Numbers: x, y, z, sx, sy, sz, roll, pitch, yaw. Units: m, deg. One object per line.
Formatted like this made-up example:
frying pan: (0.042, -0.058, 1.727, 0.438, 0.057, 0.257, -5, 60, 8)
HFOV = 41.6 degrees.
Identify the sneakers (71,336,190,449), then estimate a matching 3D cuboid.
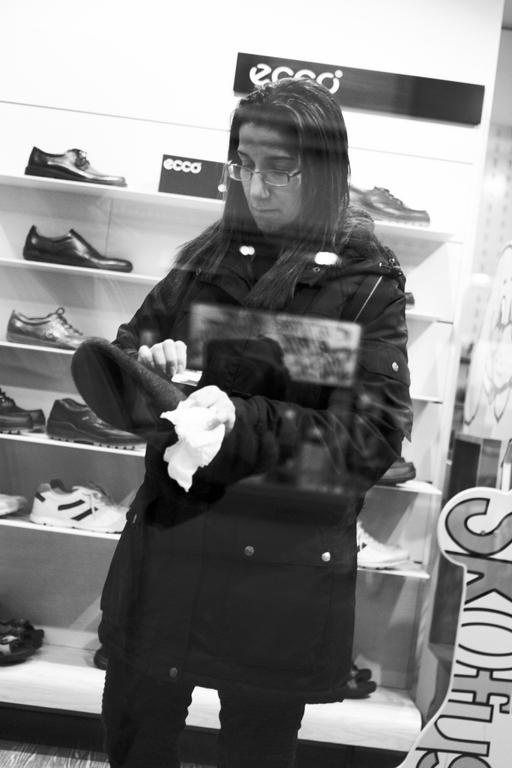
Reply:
sneakers: (-0.139, -0.001, 0.751, 0.148, 0.072, 0.062, 33, 19, 11)

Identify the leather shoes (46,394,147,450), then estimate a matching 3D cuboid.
leather shoes: (-0.166, 0.038, 0.752, 0.124, 0.050, 0.041, 12, 0, -9)

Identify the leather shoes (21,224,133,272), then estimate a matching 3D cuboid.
leather shoes: (-0.186, -0.131, 0.683, 0.126, 0.044, 0.037, 5, 1, -12)
